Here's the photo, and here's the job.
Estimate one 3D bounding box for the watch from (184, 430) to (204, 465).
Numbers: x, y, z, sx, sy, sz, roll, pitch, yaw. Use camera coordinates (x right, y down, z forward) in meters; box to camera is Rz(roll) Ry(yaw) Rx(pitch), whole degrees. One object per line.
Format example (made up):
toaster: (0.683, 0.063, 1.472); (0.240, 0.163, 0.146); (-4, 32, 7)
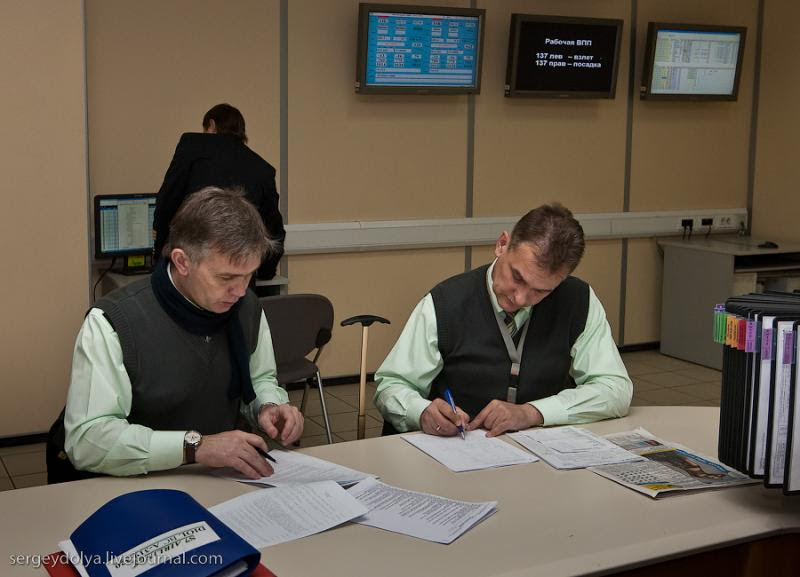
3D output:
watch: (-0.583, 0.443, 1.775); (0.049, 0.077, 0.078); (1, 36, -5)

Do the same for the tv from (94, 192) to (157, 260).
tv: (-1.751, -0.405, 4.139); (0.508, 0.407, 0.047); (-2, 1, 13)

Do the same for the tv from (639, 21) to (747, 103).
tv: (2.632, -2.022, 5.770); (1.007, 0.672, 0.089); (-6, 16, -19)
